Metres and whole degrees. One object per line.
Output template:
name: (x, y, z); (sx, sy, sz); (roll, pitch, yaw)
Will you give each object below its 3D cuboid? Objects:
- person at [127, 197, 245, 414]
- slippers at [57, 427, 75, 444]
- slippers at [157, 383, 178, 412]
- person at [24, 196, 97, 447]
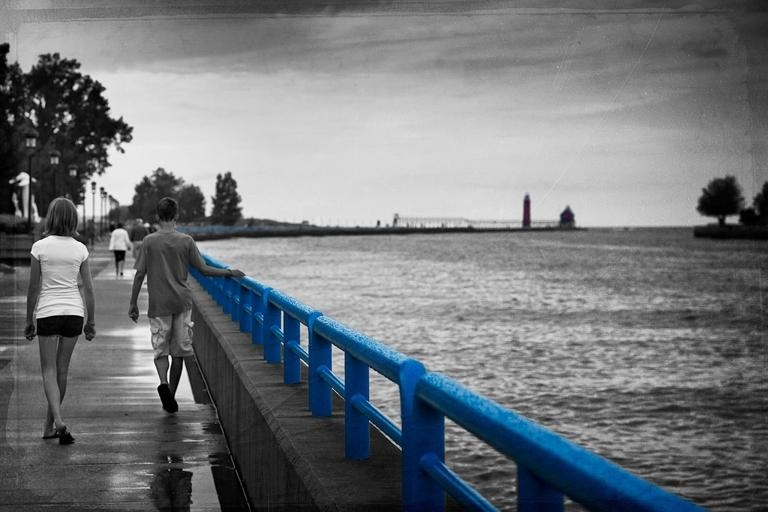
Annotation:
person: (-2.267, 0.526, 13.010); (0.979, 2.335, 0.840); (0, 3, -10)
slippers: (-3.106, 1.712, 11.562); (0.091, 0.169, 0.264); (0, 5, -20)
slippers: (-2.343, 1.520, 12.979); (0.171, 0.354, 0.160); (-11, 14, -5)
person: (-3.106, 0.610, 11.457); (0.616, 2.351, 0.887); (0, 3, -12)
